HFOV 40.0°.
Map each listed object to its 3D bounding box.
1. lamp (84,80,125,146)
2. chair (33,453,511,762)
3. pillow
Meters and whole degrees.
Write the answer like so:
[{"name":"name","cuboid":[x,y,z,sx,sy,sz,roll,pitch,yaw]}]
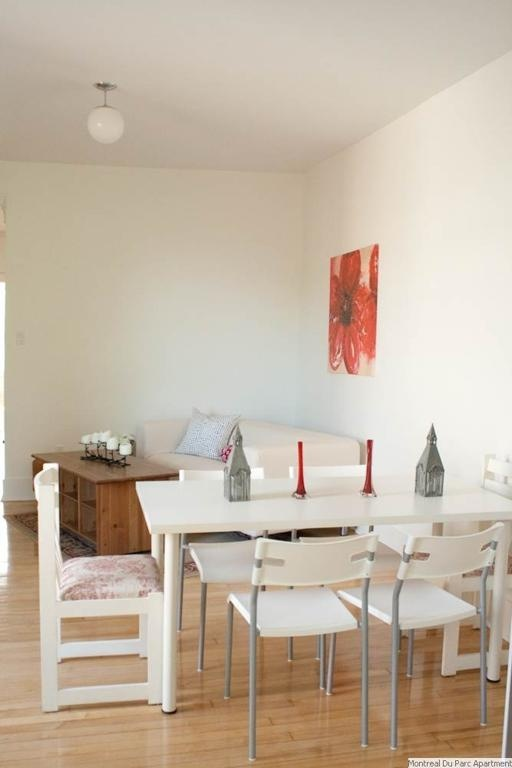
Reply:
[{"name":"lamp","cuboid":[-0.808,-1.464,3.799,0.202,0.334,0.111,-1,-4,-7]},{"name":"chair","cuboid":[-0.076,0.718,2.665,1.438,0.837,0.661,0,4,-16]},{"name":"pillow","cuboid":[-0.369,0.409,5.489,0.120,0.377,0.396,33,-18,-38]}]
